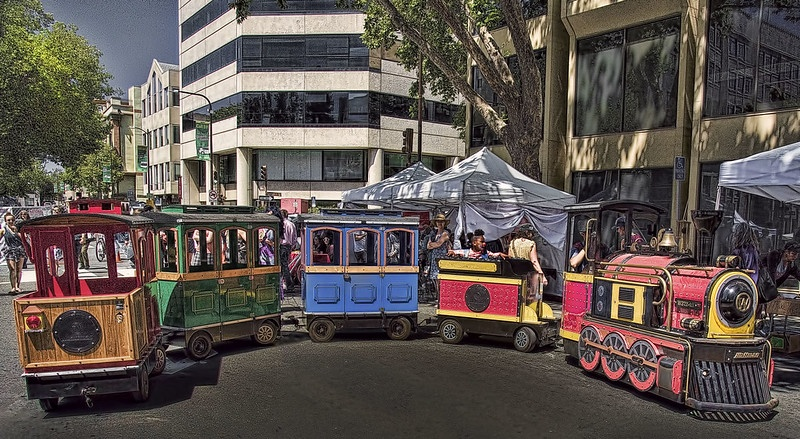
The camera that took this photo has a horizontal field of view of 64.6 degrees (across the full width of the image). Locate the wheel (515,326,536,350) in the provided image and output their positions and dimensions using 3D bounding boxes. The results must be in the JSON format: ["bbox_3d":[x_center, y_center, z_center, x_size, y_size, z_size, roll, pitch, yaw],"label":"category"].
[{"bbox_3d":[4.229,3.954,21.286,0.256,0.647,0.663,1,-18,-42],"label":"wheel"}]

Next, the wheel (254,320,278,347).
[{"bbox_3d":[-4.623,3.839,21.500,0.862,0.825,0.320,6,-2,-19],"label":"wheel"}]

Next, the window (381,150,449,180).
[{"bbox_3d":[0.668,-3.499,39.539,4.144,2.253,0.094,2,-14,-11],"label":"window"}]

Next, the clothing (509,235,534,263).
[{"bbox_3d":[4.467,1.008,23.073,1.102,1.067,0.737,2,3,41],"label":"clothing"}]

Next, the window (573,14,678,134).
[{"bbox_3d":[10.532,-6.747,28.975,6.090,5.936,0.280,0,-4,42],"label":"window"}]

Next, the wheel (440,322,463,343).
[{"bbox_3d":[1.774,3.844,21.787,0.637,0.618,0.228,11,5,20],"label":"wheel"}]

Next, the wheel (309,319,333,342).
[{"bbox_3d":[-2.745,3.764,21.740,0.751,0.720,0.258,5,-1,-4],"label":"wheel"}]

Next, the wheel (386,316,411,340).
[{"bbox_3d":[-0.087,3.712,21.976,0.820,0.787,0.283,2,0,-2],"label":"wheel"}]
